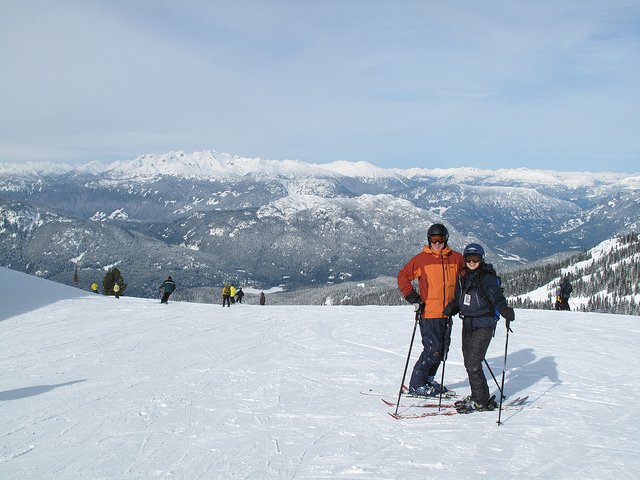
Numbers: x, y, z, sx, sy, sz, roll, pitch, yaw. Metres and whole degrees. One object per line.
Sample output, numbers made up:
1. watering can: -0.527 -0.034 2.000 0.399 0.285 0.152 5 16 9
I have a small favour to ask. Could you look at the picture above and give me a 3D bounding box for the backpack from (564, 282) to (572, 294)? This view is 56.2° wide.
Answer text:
1. backpack: 13.746 2.650 32.875 0.367 0.645 0.856 -1 -2 21
